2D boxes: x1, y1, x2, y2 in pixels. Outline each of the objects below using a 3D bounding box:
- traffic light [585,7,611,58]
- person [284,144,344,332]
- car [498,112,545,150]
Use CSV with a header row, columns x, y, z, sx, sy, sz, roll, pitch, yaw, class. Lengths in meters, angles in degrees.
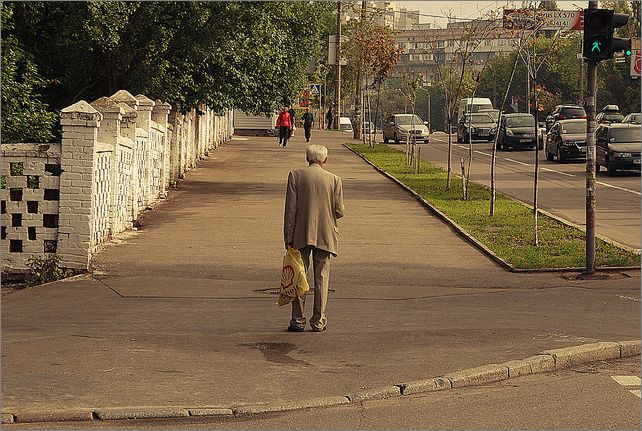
x,y,z,sx,sy,sz,roll,pitch,yaw,class
5.738,-3.767,25.556,0.573,1.052,0.296,5,15,9,traffic light
-0.139,0.403,22.084,1.055,3.186,1.136,2,15,-2,person
8.621,-3.621,54.152,1.531,1.674,2.242,4,14,7,car
